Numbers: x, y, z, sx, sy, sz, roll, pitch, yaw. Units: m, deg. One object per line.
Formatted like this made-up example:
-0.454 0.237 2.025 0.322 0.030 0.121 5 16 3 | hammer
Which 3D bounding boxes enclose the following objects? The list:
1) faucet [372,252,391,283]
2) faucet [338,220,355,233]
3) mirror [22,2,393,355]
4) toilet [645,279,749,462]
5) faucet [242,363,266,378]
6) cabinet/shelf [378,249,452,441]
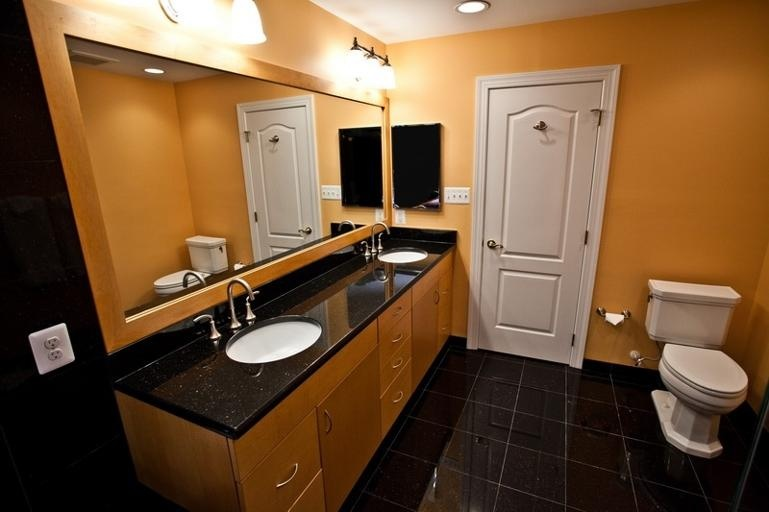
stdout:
-0.022 0.101 3.774 0.136 0.239 0.161 -1 6 2 | faucet
-0.288 -0.235 3.924 0.173 0.113 0.042 -3 28 -13 | faucet
-1.029 -0.430 2.886 0.044 1.265 2.155 9 20 35 | mirror
2.187 0.770 3.627 0.542 0.974 0.953 5 18 18 | toilet
-0.694 0.598 2.693 0.118 0.026 0.096 1 17 1 | faucet
0.211 0.656 3.741 0.368 0.708 1.150 3 24 20 | cabinet/shelf
